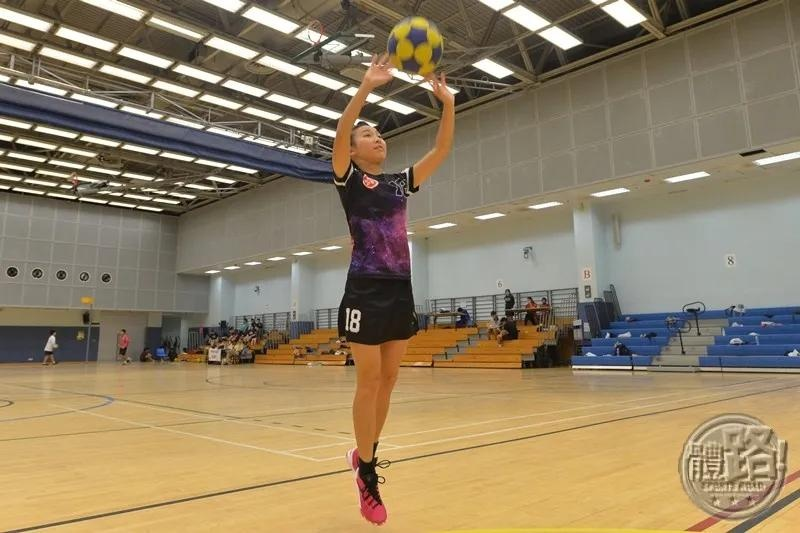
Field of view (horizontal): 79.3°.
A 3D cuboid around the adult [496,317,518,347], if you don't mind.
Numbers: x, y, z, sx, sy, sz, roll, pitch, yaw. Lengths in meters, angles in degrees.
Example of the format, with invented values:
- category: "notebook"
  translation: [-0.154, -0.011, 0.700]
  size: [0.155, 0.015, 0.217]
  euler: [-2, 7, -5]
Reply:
- category: "adult"
  translation: [3.659, 2.117, 16.501]
  size: [0.612, 0.762, 0.346]
  euler: [6, -12, -2]

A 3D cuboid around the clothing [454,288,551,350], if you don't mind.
- category: "clothing"
  translation: [3.244, 1.783, 18.911]
  size: [4.410, 1.771, 2.870]
  euler: [-9, -11, 44]

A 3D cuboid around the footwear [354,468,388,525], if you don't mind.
- category: "footwear"
  translation: [-0.173, 1.336, 2.919]
  size: [0.189, 0.303, 0.195]
  euler: [0, -8, -5]

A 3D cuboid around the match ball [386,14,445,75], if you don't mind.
- category: "match ball"
  translation: [0.097, -1.443, 3.279]
  size: [0.367, 0.440, 0.386]
  euler: [4, 27, -2]
